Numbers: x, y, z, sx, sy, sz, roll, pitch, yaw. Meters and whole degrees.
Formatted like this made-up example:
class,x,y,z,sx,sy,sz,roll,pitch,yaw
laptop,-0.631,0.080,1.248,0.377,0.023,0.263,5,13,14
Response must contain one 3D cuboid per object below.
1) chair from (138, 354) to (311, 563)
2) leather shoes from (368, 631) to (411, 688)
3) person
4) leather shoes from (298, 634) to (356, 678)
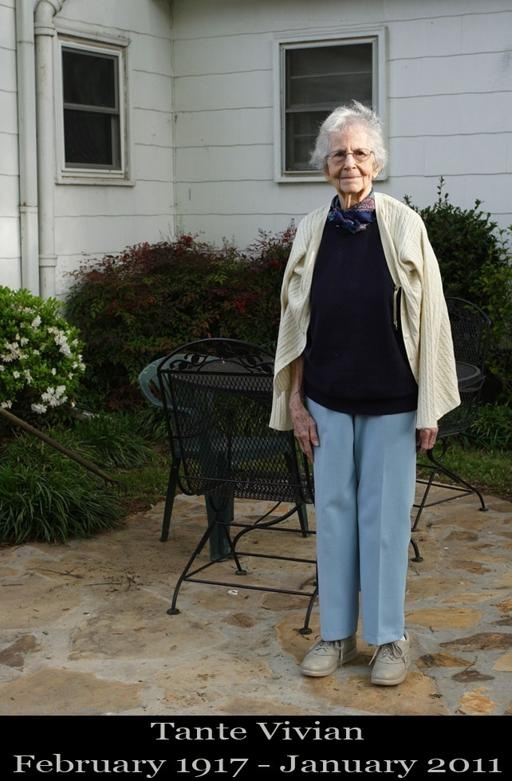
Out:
class,x,y,z,sx,sy,sz,roll,pitch,yaw
chair,-0.288,0.285,4.036,1.014,1.248,1.099,-2,3,9
leather shoes,0.437,0.845,2.413,0.107,0.097,0.275,2,7,25
person,0.303,0.025,2.340,0.290,1.772,0.547,-9,11,-42
leather shoes,0.237,0.863,2.491,0.075,0.082,0.197,7,9,38
